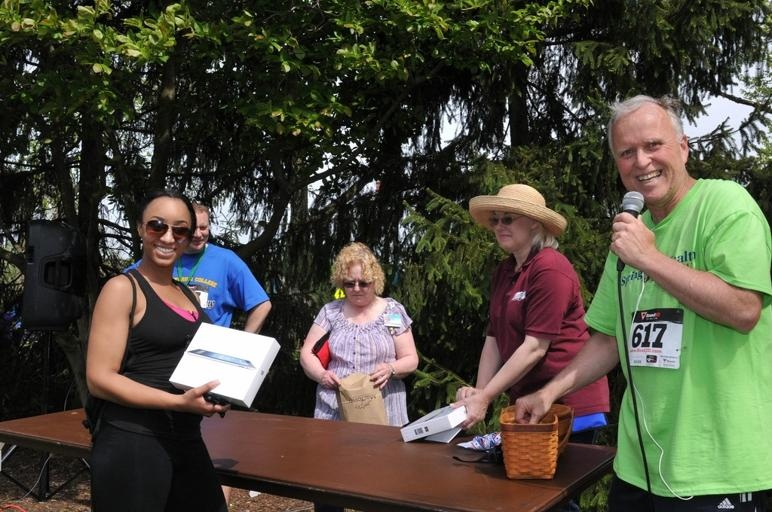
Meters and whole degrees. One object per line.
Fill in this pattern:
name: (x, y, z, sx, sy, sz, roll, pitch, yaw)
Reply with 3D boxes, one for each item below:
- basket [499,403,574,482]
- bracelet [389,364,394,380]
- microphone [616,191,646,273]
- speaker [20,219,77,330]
basket: (0.805, 1.029, 3.624, 0.292, 0.265, 0.424, -1, -8, 10)
bracelet: (0.049, 0.955, 5.389, 0.021, 0.086, 0.081, 0, 0, 20)
microphone: (1.206, -0.105, 3.253, 0.116, 0.120, 0.430, -4, 39, 34)
speaker: (-3.146, 0.172, 6.223, 0.541, 1.026, 0.392, -5, 5, -38)
